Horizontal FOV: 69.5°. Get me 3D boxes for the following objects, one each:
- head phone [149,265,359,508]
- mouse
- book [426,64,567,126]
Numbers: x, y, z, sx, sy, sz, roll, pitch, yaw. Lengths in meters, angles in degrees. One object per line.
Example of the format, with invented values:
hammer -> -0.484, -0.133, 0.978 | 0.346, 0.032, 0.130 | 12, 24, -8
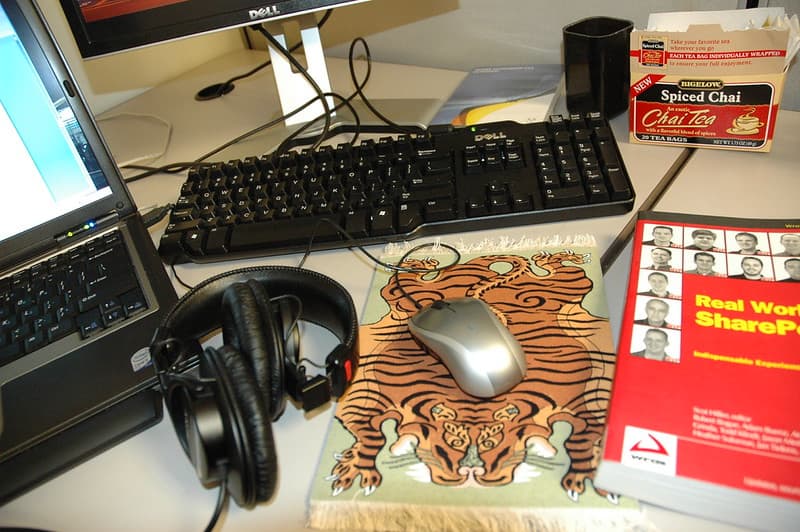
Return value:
head phone -> -0.149, 0.081, 0.679 | 0.229, 0.101, 0.215 | -23, 43, 0
mouse -> 0.082, 0.084, 0.707 | 0.098, 0.053, 0.165 | -25, 42, -27
book -> 0.147, -0.317, 1.091 | 0.174, 0.019, 0.224 | 11, 52, 23
